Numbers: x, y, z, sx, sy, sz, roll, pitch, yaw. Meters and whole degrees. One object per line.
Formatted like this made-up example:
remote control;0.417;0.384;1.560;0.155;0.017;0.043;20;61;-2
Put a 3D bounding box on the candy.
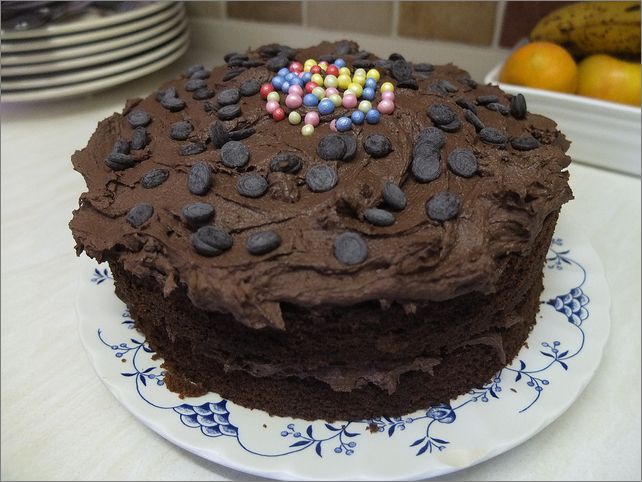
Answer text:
candy;0.051;-0.733;2.578;0.683;0.307;0.477;6;27;5
